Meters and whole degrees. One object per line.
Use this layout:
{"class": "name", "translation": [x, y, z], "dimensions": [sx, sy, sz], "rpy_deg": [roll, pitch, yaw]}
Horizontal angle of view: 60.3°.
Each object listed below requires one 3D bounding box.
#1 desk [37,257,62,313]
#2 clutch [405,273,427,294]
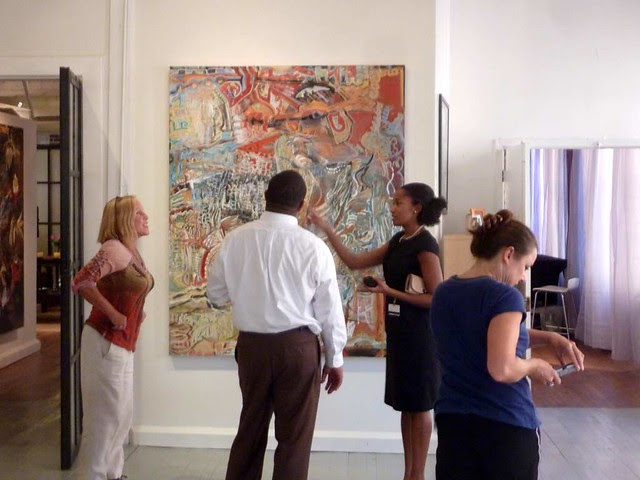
{"class": "desk", "translation": [-4.654, 0.758, 9.469], "dimensions": [0.379, 0.983, 0.386], "rpy_deg": [-6, 9, -29]}
{"class": "clutch", "translation": [0.625, 0.292, 3.619], "dimensions": [0.114, 0.129, 0.039], "rpy_deg": [6, -9, -24]}
